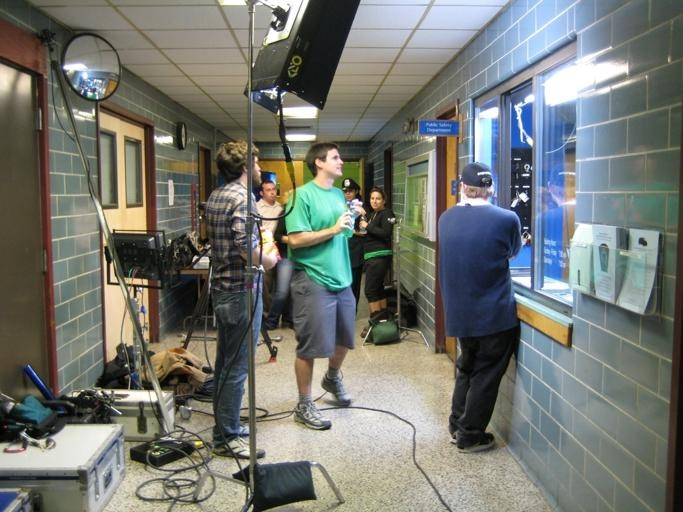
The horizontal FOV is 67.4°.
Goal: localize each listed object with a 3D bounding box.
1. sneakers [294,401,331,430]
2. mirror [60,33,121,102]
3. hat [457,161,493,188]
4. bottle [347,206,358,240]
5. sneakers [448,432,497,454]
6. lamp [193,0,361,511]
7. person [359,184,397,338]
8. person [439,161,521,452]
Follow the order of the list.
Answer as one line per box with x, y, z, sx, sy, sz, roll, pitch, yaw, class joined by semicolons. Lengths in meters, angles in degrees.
-0.207;1.142;3.729;0.306;0.161;0.123;3;2;39;sneakers
-1.728;-1.312;3.547;0.370;0.454;0.166;-3;8;-31;mirror
0.869;-0.525;3.295;0.128;0.120;0.196;0;18;-4;hat
0.094;-0.262;4.111;0.083;0.291;0.204;2;11;-2;bottle
0.890;1.188;3.416;0.282;0.141;0.115;-4;6;-31;sneakers
-0.348;-0.053;3.064;0.862;2.746;1.509;1;7;2;lamp
0.436;0.049;6.150;0.415;1.709;0.792;1;7;2;person
0.877;0.345;3.284;0.527;1.851;0.261;3;7;20;person
